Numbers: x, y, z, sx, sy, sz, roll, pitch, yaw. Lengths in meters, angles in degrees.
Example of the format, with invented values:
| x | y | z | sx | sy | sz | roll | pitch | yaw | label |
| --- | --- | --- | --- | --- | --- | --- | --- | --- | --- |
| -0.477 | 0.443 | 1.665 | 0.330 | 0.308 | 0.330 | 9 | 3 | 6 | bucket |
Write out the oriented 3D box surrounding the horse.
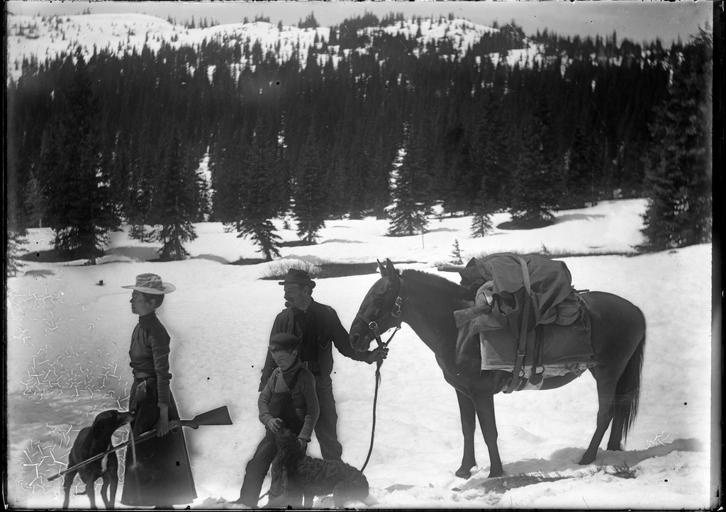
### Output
| x | y | z | sx | sy | sz | roll | pitch | yaw | label |
| --- | --- | --- | --- | --- | --- | --- | --- | --- | --- |
| 1.463 | 1.099 | 10.155 | 2.729 | 2.219 | 0.757 | 0 | 2 | 7 | horse |

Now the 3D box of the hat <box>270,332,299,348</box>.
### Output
| x | y | z | sx | sy | sz | roll | pitch | yaw | label |
| --- | --- | --- | --- | --- | --- | --- | --- | --- | --- |
| -0.814 | 0.818 | 10.242 | 0.188 | 0.116 | 0.190 | -1 | 1 | 23 | hat |

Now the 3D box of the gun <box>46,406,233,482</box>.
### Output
| x | y | z | sx | sy | sz | roll | pitch | yaw | label |
| --- | --- | --- | --- | --- | --- | --- | --- | --- | --- |
| -2.199 | 1.906 | 10.334 | 1.647 | 0.332 | 0.081 | -23 | 22 | 2 | gun |

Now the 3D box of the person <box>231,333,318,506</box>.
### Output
| x | y | z | sx | sy | sz | roll | pitch | yaw | label |
| --- | --- | --- | --- | --- | --- | --- | --- | --- | --- |
| -0.852 | 1.648 | 10.139 | 0.758 | 1.726 | 0.330 | 0 | 2 | -7 | person |
